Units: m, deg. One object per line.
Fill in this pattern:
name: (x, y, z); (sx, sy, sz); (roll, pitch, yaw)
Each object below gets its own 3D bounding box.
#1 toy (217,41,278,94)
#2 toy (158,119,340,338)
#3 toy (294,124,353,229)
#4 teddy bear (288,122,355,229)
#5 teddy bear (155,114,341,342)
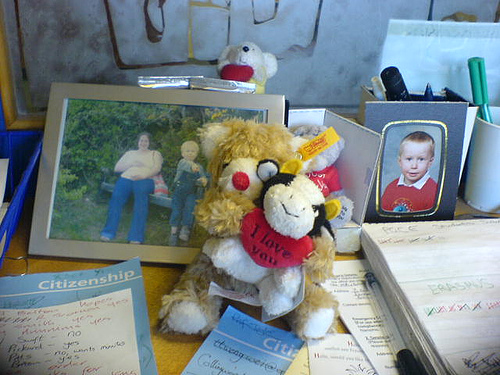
toy: (-0.009, -0.277, 1.016); (0.136, 0.115, 0.176); (4, 13, 9)
toy: (0.030, 0.075, 0.837); (0.339, 0.383, 0.263); (10, 15, 11)
toy: (0.143, -0.022, 0.974); (0.159, 0.221, 0.133); (-5, 29, -4)
teddy bear: (0.146, -0.023, 0.976); (0.171, 0.232, 0.146); (2, 6, 18)
teddy bear: (0.048, 0.058, 0.836); (0.304, 0.382, 0.233); (7, 8, 35)
